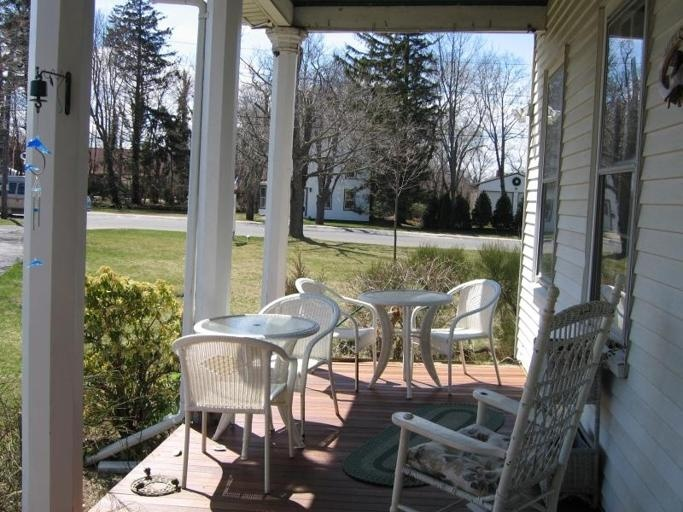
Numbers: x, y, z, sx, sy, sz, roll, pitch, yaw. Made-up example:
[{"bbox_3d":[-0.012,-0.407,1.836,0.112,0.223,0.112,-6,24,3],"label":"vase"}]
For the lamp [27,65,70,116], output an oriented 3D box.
[{"bbox_3d":[-1.480,-0.845,3.060,0.159,0.258,0.078,-1,0,-38],"label":"lamp"}]
